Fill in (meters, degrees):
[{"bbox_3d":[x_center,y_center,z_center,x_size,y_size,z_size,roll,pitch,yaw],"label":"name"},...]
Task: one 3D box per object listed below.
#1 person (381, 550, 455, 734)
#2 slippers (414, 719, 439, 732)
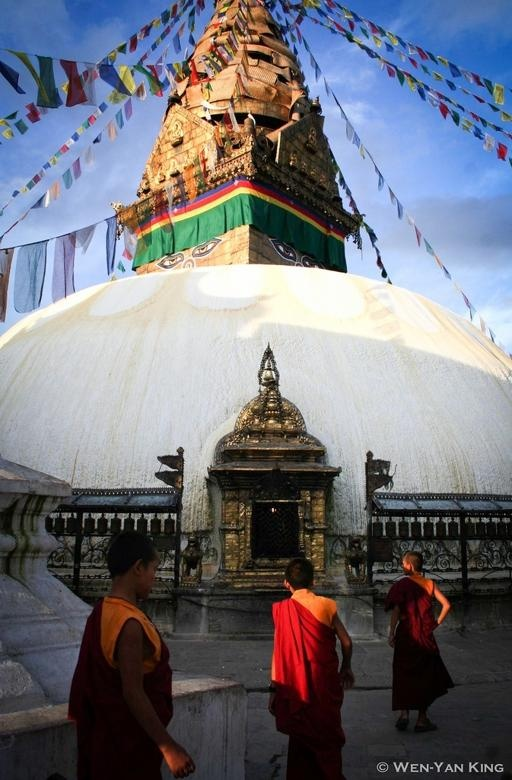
[{"bbox_3d":[0.945,1.470,3.554,0.328,0.958,0.457,-10,-17,37],"label":"person"},{"bbox_3d":[0.943,1.862,3.292,0.135,0.061,0.055,3,-2,-24],"label":"slippers"}]
